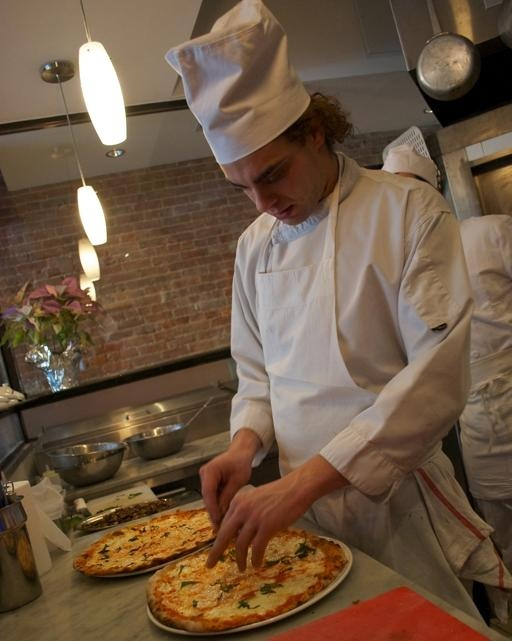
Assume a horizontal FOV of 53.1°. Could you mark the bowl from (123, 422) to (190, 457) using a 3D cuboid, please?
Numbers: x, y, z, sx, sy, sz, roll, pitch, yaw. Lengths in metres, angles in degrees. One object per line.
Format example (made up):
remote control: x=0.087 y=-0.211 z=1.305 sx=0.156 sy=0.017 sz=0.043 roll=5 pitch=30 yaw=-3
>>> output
bowl: x=-0.370 y=0.414 z=1.932 sx=0.167 sy=0.067 sz=0.171 roll=-7 pitch=-11 yaw=-1

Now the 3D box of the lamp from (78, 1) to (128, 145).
lamp: x=-0.555 y=-0.830 z=1.838 sx=0.122 sy=0.446 sz=0.286 roll=-14 pitch=-1 yaw=-11

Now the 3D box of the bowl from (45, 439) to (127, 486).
bowl: x=-0.585 y=0.500 z=1.817 sx=0.259 sy=0.117 sz=0.270 roll=-10 pitch=-4 yaw=-1

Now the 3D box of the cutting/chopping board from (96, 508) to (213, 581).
cutting/chopping board: x=-0.202 y=0.460 z=1.045 sx=0.154 sy=0.025 sz=0.217 roll=-8 pitch=1 yaw=10

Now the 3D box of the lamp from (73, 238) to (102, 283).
lamp: x=-1.048 y=-0.370 z=3.154 sx=0.103 sy=0.303 sz=0.316 roll=-15 pitch=13 yaw=-11
